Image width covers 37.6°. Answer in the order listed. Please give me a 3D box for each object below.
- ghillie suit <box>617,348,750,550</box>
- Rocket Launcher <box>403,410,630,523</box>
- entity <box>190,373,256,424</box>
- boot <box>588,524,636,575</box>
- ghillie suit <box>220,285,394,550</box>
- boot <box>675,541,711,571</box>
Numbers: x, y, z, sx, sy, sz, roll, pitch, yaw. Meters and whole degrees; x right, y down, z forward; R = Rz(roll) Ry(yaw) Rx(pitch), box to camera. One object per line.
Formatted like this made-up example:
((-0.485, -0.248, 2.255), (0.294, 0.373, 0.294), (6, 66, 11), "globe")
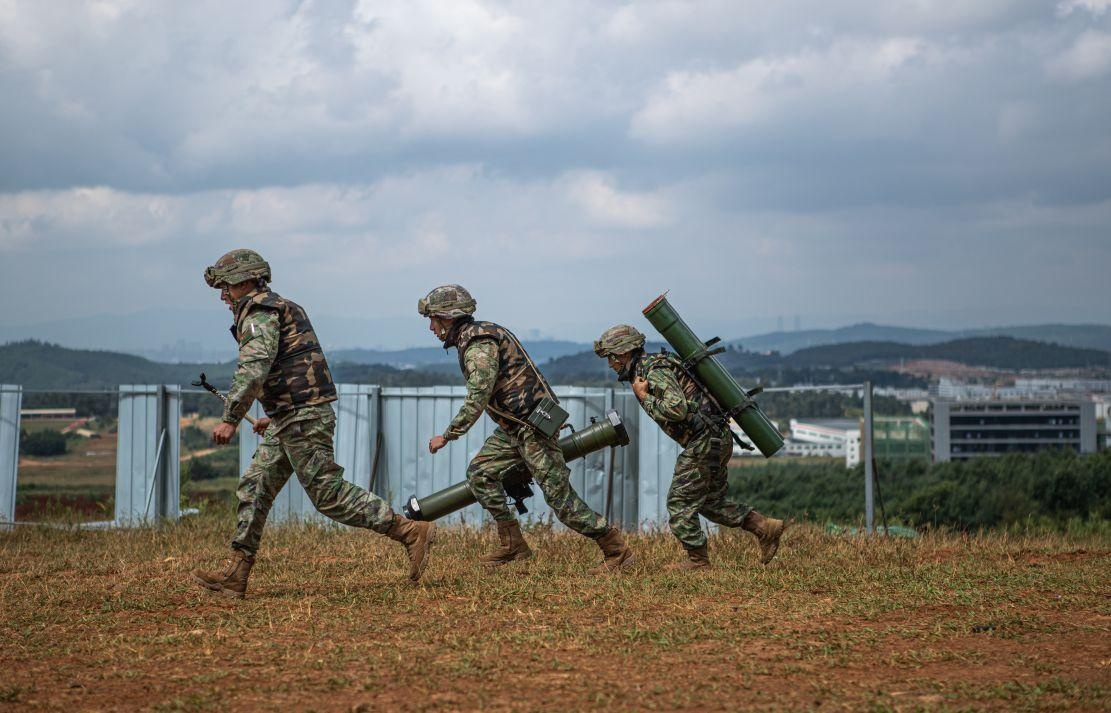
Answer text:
((1.608, 1.224, 21.139), (1.980, 2.640, 1.262), (-3, 2, 35), "ghillie suit")
((-0.401, 1.502, 22.095), (2.201, 0.524, 0.745), (-27, -42, 3), "Rocket Launcher")
((-4.945, 0.642, 24.105), (1.279, 0.261, 0.136), (39, 16, -28), "entity")
((0.650, 2.489, 20.715), (0.646, 0.510, 0.248), (-22, -1, -22), "boot")
((-3.207, 0.825, 20.032), (1.671, 3.128, 0.918), (-3, 14, -9), "ghillie suit")
((1.797, 2.574, 20.810), (0.546, 0.415, 0.205), (1, -3, 16), "boot")
